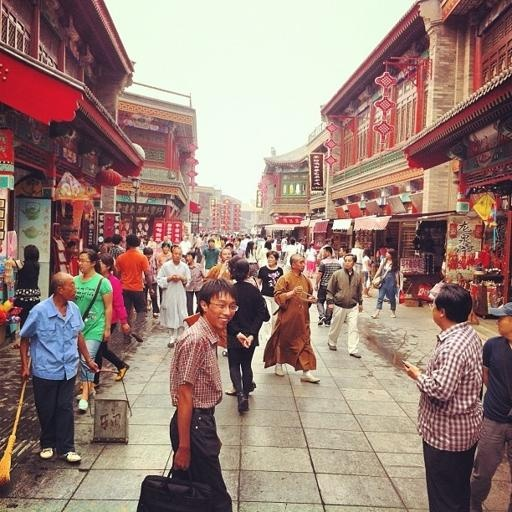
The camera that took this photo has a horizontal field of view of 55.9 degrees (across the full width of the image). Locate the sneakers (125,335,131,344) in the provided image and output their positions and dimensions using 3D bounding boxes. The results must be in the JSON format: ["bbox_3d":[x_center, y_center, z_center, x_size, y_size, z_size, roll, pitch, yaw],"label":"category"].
[{"bbox_3d":[-2.164,1.427,8.164,0.082,0.103,0.170,2,1,-7],"label":"sneakers"}]

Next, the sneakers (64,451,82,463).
[{"bbox_3d":[-1.490,1.642,3.929,0.132,0.069,0.074,2,1,-15],"label":"sneakers"}]

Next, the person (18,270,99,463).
[{"bbox_3d":[-1.692,0.912,4.013,0.517,1.065,0.372,1,1,-15],"label":"person"}]

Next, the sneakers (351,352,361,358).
[{"bbox_3d":[1.643,1.639,7.961,0.179,0.081,0.223,2,1,5],"label":"sneakers"}]

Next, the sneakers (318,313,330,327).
[{"bbox_3d":[1.566,1.491,11.068,0.121,0.410,0.173,14,34,-17],"label":"sneakers"}]

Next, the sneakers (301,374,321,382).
[{"bbox_3d":[0.733,1.659,6.528,0.224,0.113,0.105,0,-3,35],"label":"sneakers"}]

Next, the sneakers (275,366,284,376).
[{"bbox_3d":[0.339,1.619,6.909,0.122,0.133,0.245,2,1,3],"label":"sneakers"}]

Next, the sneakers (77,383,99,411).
[{"bbox_3d":[-1.875,1.609,5.343,0.127,0.214,0.428,-1,-11,-5],"label":"sneakers"}]
